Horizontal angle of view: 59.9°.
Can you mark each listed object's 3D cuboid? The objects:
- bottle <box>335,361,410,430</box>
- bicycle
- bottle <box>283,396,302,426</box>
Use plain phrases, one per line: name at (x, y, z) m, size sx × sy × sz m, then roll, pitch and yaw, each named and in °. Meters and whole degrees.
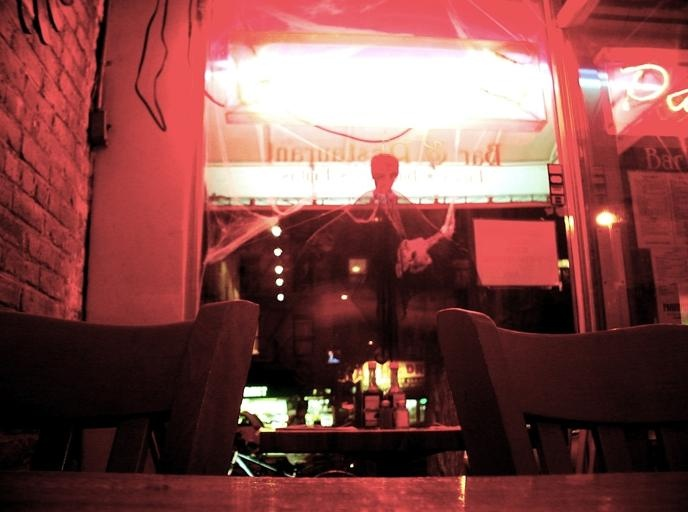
bottle at (0.113, 0.561, 2.458) m, size 0.296 × 0.295 × 0.344 m, roll -1°, pitch -18°, yaw -1°
bicycle at (-0.212, 0.883, 2.599) m, size 0.561 × 0.164 × 0.614 m, roll 0°, pitch 5°, yaw -9°
bottle at (-0.220, 0.670, 2.610) m, size 0.097 × 0.180 × 0.097 m, roll 0°, pitch -3°, yaw 0°
